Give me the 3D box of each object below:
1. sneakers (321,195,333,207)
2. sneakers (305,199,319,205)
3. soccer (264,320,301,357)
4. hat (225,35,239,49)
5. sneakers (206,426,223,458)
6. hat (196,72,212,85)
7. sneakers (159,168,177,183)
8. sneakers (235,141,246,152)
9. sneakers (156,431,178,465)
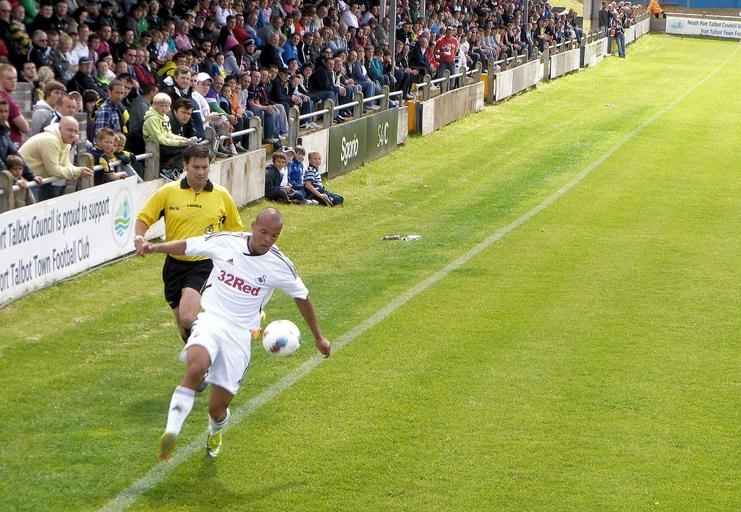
[{"bbox_3d":[-0.981,-1.198,20.711,0.130,0.313,0.117,2,56,28],"label":"sneakers"},{"bbox_3d":[-1.320,-1.167,20.576,0.277,0.090,0.116,-1,1,-6],"label":"sneakers"},{"bbox_3d":[-0.990,0.928,10.412,0.402,0.389,0.408,1,-5,-37],"label":"soccer"},{"bbox_3d":[-3.365,-5.087,22.369,0.361,0.351,0.150,15,-7,45],"label":"hat"},{"bbox_3d":[-1.781,2.095,10.470,0.164,0.445,0.207,-3,13,-17],"label":"sneakers"},{"bbox_3d":[-3.360,-3.535,18.505,0.266,0.178,0.353,-1,0,-21],"label":"hat"},{"bbox_3d":[-3.699,-1.460,17.043,0.461,0.173,0.150,11,19,-16],"label":"sneakers"},{"bbox_3d":[-2.783,-2.276,19.640,0.367,0.221,0.120,-6,39,-16],"label":"sneakers"},{"bbox_3d":[-2.085,1.910,9.526,0.163,0.442,0.198,10,14,-8],"label":"sneakers"}]
